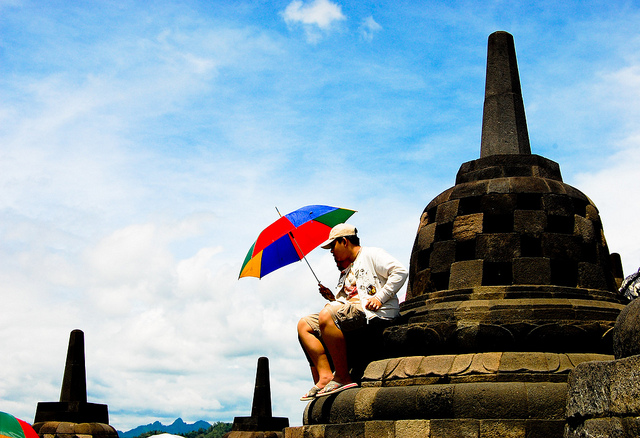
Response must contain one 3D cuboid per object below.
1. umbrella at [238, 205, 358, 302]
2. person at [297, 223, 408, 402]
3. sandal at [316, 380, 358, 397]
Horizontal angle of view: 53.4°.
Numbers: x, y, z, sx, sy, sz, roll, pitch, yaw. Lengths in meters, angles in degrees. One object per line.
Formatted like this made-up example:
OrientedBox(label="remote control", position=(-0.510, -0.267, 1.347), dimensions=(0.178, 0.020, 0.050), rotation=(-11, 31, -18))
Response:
OrientedBox(label="umbrella", position=(-0.543, 0.423, 10.936), dimensions=(1.806, 1.470, 1.588), rotation=(-35, -22, -13))
OrientedBox(label="person", position=(0.466, 1.306, 9.249), dimensions=(1.615, 2.555, 0.743), rotation=(-14, -29, 31))
OrientedBox(label="sandal", position=(0.205, 2.419, 9.186), dimensions=(0.610, 0.155, 0.207), rotation=(-5, -22, -32))
